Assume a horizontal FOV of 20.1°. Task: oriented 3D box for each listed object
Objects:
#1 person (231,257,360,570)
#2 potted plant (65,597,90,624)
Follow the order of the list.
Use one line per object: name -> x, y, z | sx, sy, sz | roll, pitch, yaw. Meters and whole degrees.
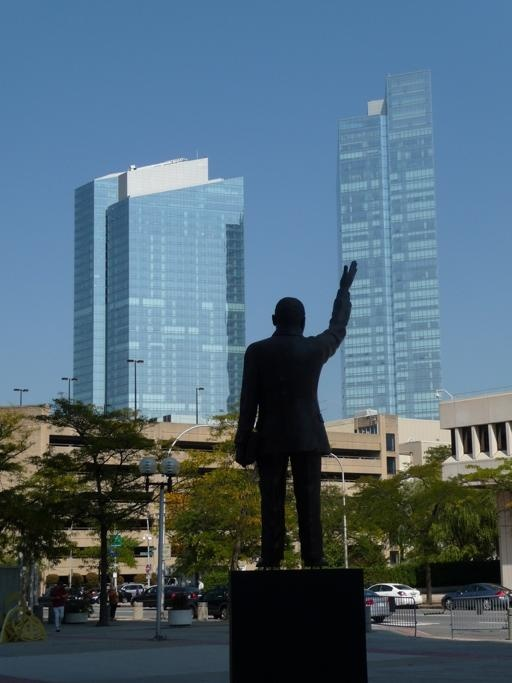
person -> 0.503, 1.068, 19.213 | 1.516, 3.860, 0.671 | -1, -9, -2
potted plant -> -5.878, 8.928, 47.858 | 0.827, 0.799, 0.805 | 5, -18, -14
